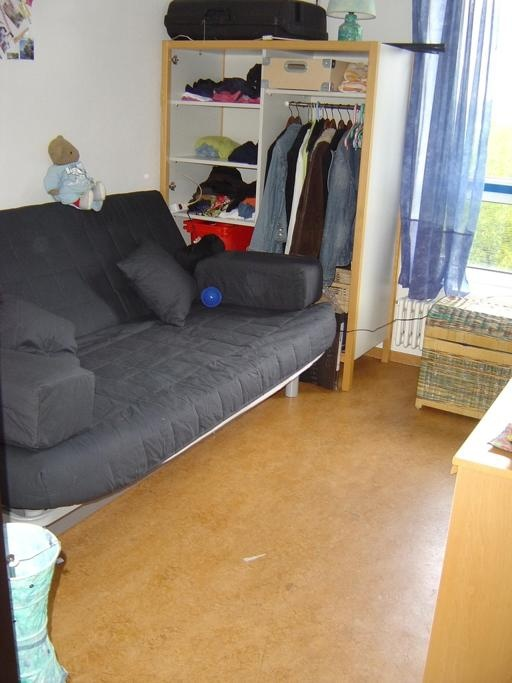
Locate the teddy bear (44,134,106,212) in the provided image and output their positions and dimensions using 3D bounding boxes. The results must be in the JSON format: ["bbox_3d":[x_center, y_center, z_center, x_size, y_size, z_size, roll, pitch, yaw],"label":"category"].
[{"bbox_3d":[-0.846,-0.784,2.528,0.264,0.296,0.226,17,34,14],"label":"teddy bear"}]

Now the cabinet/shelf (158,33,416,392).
[{"bbox_3d":[0.335,-0.646,3.172,1.686,1.988,0.727,10,23,24],"label":"cabinet/shelf"}]
